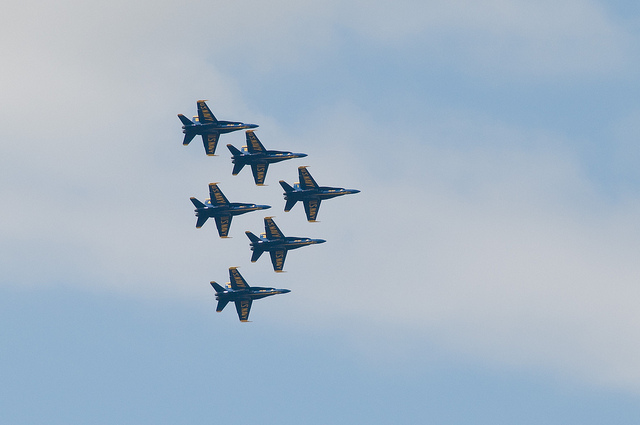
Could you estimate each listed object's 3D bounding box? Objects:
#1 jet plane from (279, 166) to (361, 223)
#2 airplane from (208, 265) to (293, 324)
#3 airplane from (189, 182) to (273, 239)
[{"bbox_3d":[0.378,-3.124,250.208,11.418,9.065,3.099,-17,-48,-16],"label":"jet plane"},{"bbox_3d":[-11.622,12.571,247.769,13.785,11.291,3.345,-4,-40,-14],"label":"airplane"},{"bbox_3d":[-14.928,-1.972,249.112,14.292,11.284,3.844,-6,-36,-14],"label":"airplane"}]
